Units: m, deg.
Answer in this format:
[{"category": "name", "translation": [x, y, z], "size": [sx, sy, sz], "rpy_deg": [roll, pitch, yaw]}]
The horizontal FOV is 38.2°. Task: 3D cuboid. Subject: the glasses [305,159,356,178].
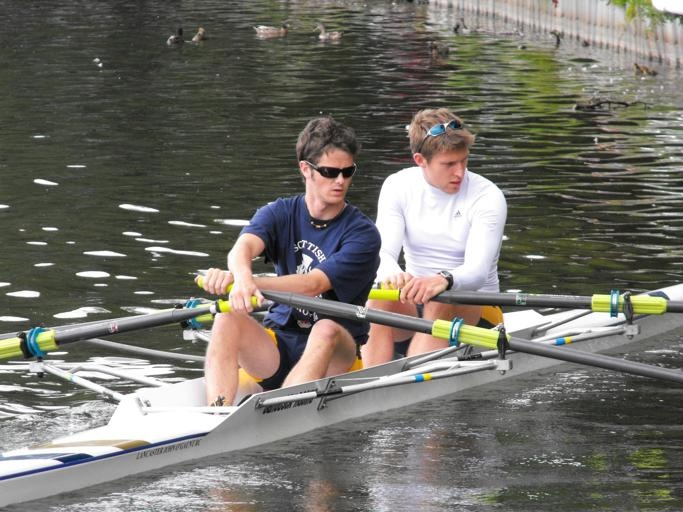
[{"category": "glasses", "translation": [-0.069, -0.603, 6.959], "size": [0.355, 0.111, 0.200], "rpy_deg": [0, 17, -6]}]
